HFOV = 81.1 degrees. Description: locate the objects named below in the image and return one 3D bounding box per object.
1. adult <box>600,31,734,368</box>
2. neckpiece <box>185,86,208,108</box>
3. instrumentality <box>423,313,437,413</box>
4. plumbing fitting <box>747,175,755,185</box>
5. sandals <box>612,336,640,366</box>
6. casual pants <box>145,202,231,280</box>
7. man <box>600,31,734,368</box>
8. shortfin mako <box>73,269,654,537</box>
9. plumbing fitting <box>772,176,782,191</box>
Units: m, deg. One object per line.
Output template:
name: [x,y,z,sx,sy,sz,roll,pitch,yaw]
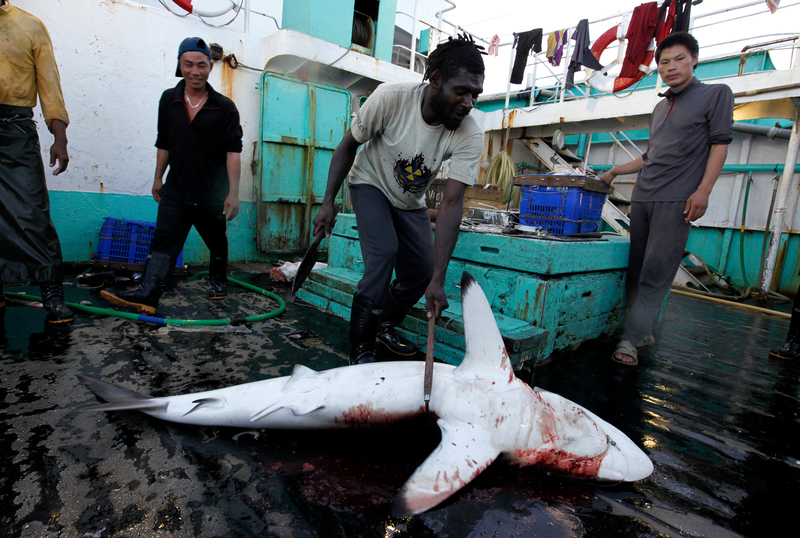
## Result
adult: [2.447,-0.604,4.262,0.709,2.942,0.604,15,13,39]
neckpiece: [-2.006,-1.660,4.564,0.167,0.237,0.092,2,9,-12]
instrumentality: [0.208,0.584,3.108,0.075,0.695,0.057,5,-26,3]
plumbing fitting: [6.558,-1.686,8.714,0.116,0.179,0.053,4,11,-11]
sandals: [2.072,0.766,4.268,0.151,0.133,0.296,1,-1,21]
casual pants: [-2.303,-0.327,5.021,0.819,1.050,0.359,12,5,-45]
man: [2.447,-0.604,4.262,0.709,2.942,0.603,15,13,39]
shortfin mako: [-0.157,0.849,3.021,3.164,0.455,1.648,5,52,5]
plumbing fitting: [6.771,-1.562,8.385,0.111,0.234,0.090,10,11,22]
